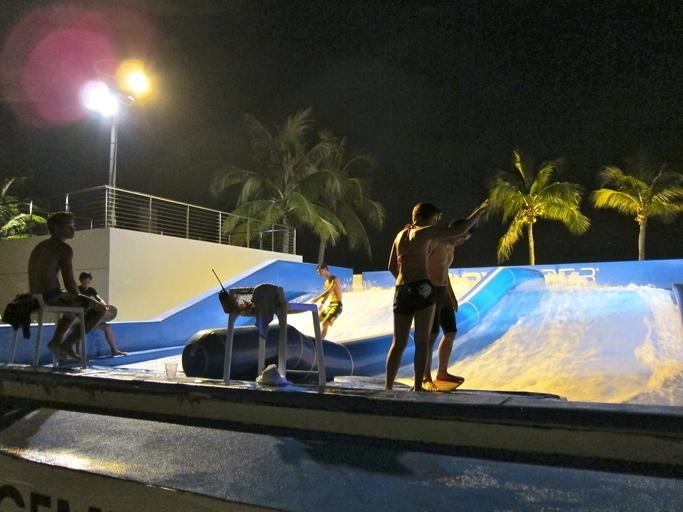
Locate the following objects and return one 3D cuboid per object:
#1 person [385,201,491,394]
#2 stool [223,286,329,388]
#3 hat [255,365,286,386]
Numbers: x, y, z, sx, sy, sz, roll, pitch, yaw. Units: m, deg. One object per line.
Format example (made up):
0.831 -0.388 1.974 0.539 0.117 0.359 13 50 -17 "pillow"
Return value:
0.750 0.367 5.029 0.952 1.704 1.189 2 5 25 "person"
-0.676 0.610 4.829 0.865 1.211 0.693 1 -2 -40 "stool"
-0.525 0.890 4.238 0.247 0.169 0.222 0 4 1 "hat"
